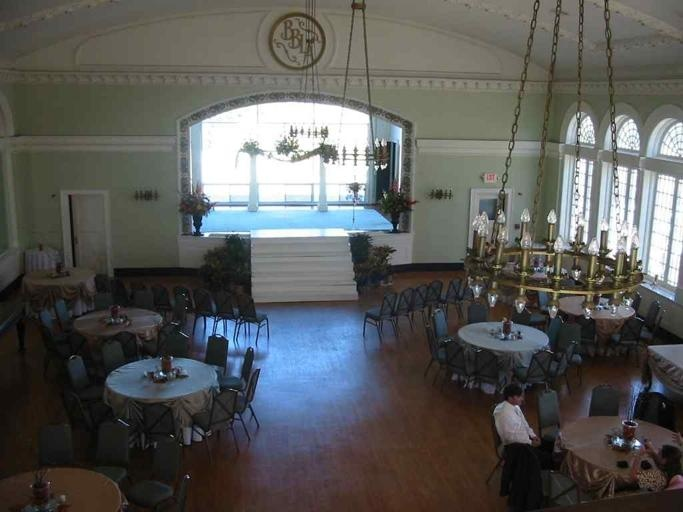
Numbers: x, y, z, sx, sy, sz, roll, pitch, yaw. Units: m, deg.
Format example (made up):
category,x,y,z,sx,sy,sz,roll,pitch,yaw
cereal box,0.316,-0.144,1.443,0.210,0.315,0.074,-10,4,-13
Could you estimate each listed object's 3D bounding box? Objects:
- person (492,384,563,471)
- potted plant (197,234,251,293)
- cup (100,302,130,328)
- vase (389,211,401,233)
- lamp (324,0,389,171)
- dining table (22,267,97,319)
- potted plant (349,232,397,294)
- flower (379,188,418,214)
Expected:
category,x,y,z,sx,sy,sz,roll,pitch,yaw
person,2.585,2.488,7.119,0.838,1.376,0.566,-7,4,29
potted plant,-3.274,0.253,14.614,1.592,1.822,1.344,-4,17,-21
cup,-4.343,1.179,10.169,0.410,0.218,0.436,5,10,-1
vase,1.749,-1.081,16.365,0.290,0.689,0.716,0,8,7
lamp,0.493,-5.207,15.637,1.768,5.638,1.710,5,49,0
dining table,-6.494,0.786,11.984,1.285,0.769,1.402,6,23,-9
potted plant,0.650,0.247,15.371,1.570,1.966,1.441,-6,17,-20
flower,1.790,-1.721,16.132,1.035,0.787,0.569,-1,8,1
